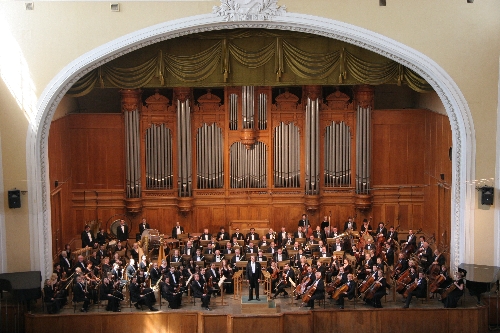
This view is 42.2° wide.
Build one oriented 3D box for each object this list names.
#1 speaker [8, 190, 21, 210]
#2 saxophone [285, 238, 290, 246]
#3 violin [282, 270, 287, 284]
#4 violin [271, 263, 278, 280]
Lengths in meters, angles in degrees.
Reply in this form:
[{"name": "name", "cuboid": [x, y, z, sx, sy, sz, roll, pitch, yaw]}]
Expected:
[{"name": "speaker", "cuboid": [-8.185, 1.141, 22.392, 0.393, 0.632, 0.252, 0, -4, -18]}, {"name": "saxophone", "cuboid": [1.488, 2.960, 25.160, 0.204, 0.225, 0.133, 0, -2, 14]}, {"name": "violin", "cuboid": [1.222, 3.944, 22.952, 0.101, 0.387, 0.206, -1, 25, -6]}, {"name": "violin", "cuboid": [0.881, 3.741, 23.014, 0.233, 0.540, 0.159, 0, -23, 2]}]
